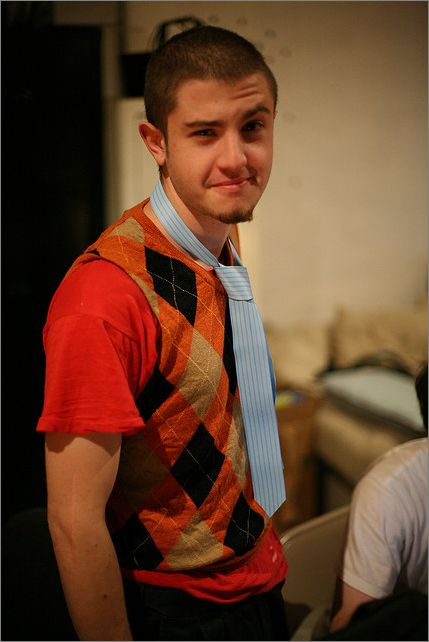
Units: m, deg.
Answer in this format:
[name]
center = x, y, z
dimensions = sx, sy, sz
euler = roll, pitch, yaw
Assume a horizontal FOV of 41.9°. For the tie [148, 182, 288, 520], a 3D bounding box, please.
[tie]
center = -0.008, 0.059, 0.745
dimensions = 0.022, 0.470, 0.141
euler = -9, 1, 38
